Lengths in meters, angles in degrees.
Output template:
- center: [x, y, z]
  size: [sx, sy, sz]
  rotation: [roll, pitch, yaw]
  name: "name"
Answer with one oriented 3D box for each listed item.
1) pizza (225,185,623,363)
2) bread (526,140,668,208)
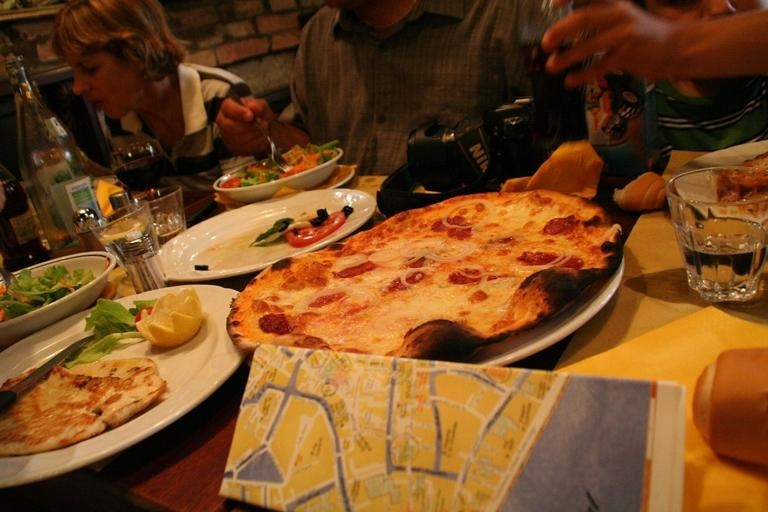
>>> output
- center: [0.117, 0.041, 1.173]
  size: [0.632, 0.068, 0.457]
  rotation: [-20, 24, -16]
  name: "pizza"
- center: [0.540, -0.194, 1.343]
  size: [0.238, 0.087, 0.228]
  rotation: [11, 32, 19]
  name: "bread"
